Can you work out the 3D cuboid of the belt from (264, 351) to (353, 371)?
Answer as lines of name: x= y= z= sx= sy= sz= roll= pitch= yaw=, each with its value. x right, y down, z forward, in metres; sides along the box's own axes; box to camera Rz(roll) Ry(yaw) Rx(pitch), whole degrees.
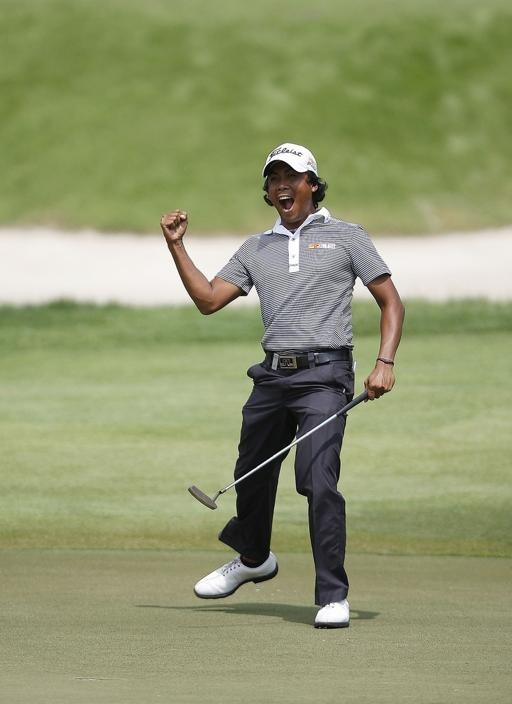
belt: x=0.200 y=0.029 z=4.644 sx=0.281 sy=0.087 sz=0.081 roll=2 pitch=1 yaw=15

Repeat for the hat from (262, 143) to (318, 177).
hat: x=0.140 y=-0.780 z=4.811 sx=0.310 sy=0.120 sz=0.130 roll=-7 pitch=15 yaw=-11

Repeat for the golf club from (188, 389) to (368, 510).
golf club: x=0.160 y=0.354 z=4.636 sx=0.083 sy=0.825 sz=0.195 roll=57 pitch=-1 yaw=21

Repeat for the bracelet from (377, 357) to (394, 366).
bracelet: x=0.493 y=0.034 z=4.527 sx=0.048 sy=0.015 sz=0.037 roll=24 pitch=-3 yaw=-3
